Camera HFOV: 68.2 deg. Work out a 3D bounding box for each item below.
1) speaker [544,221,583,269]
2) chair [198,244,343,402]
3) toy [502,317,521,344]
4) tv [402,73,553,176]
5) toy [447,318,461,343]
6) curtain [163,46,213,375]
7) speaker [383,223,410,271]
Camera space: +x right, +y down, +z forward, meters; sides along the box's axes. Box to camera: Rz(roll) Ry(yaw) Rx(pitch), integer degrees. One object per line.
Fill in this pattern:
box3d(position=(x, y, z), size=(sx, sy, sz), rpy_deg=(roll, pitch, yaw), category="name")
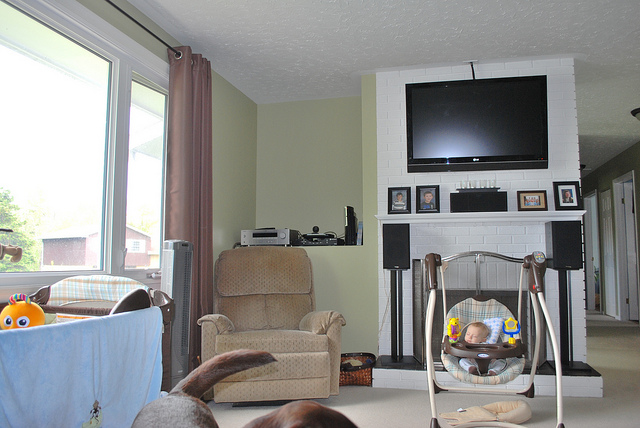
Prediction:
box3d(position=(2.328, 0.261, 4.516), size=(0.399, 0.520, 0.308), rpy_deg=(9, 0, 33), category="speaker")
box3d(position=(-0.557, 1.024, 4.574), size=(1.343, 1.429, 1.463), rpy_deg=(4, -10, -19), category="chair")
box3d(position=(1.495, 0.906, 3.719), size=(0.122, 0.181, 0.164), rpy_deg=(-2, -5, 29), category="toy")
box3d(position=(1.662, -0.902, 4.815), size=(1.128, 0.742, 0.080), rpy_deg=(0, 1, 3), category="tv")
box3d(position=(1.074, 0.923, 3.794), size=(0.098, 0.173, 0.197), rpy_deg=(-1, -4, 18), category="toy")
box3d(position=(-1.195, -0.121, 4.410), size=(0.407, 2.763, 0.609), rpy_deg=(3, 1, 1), category="curtain")
box3d(position=(0.743, 0.310, 4.621), size=(0.248, 0.441, 0.074), rpy_deg=(0, -4, 4), category="speaker")
